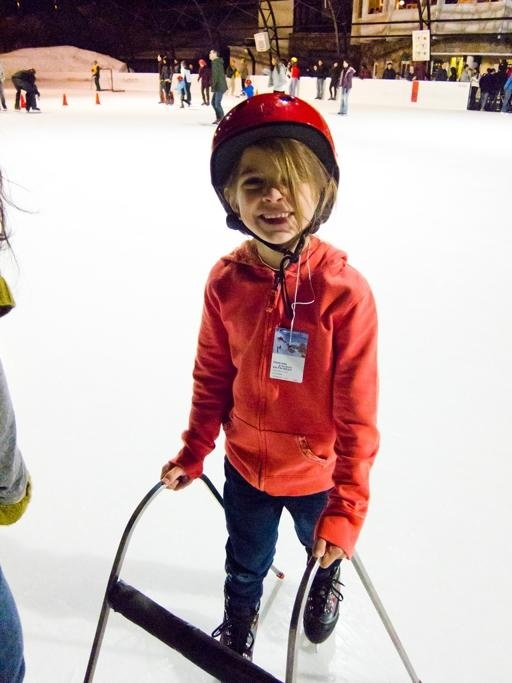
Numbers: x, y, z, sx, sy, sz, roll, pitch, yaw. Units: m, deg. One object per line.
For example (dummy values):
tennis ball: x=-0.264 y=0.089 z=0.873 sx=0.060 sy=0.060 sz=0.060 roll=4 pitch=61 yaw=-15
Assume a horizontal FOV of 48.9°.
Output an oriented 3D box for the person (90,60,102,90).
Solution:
person: x=-4.460 y=-7.417 z=15.798 sx=0.262 sy=0.836 sz=1.254 roll=-6 pitch=20 yaw=-13

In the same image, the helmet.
helmet: x=0.029 y=-0.342 z=1.100 sx=0.256 sy=0.266 sz=0.171 roll=0 pitch=20 yaw=3

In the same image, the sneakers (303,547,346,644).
sneakers: x=0.172 y=0.671 z=1.495 sx=0.102 sy=0.260 sz=0.106 roll=7 pitch=-12 yaw=5

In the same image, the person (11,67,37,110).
person: x=-4.693 y=-5.102 z=11.497 sx=0.466 sy=0.885 sz=1.943 roll=-8 pitch=20 yaw=-19
